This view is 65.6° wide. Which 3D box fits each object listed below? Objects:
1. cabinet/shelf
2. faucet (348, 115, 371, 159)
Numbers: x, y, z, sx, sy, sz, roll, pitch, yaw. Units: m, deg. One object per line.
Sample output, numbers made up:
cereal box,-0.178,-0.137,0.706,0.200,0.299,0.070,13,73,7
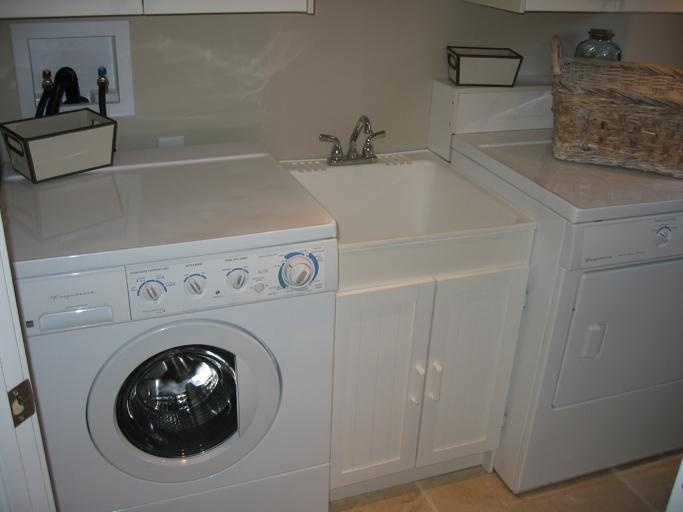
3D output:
cabinet/shelf,0.305,0.409,1.883,0.605,0.769,0.410,-9,28,-16
faucet,0.071,-0.494,2.191,0.099,0.185,0.213,0,22,1
